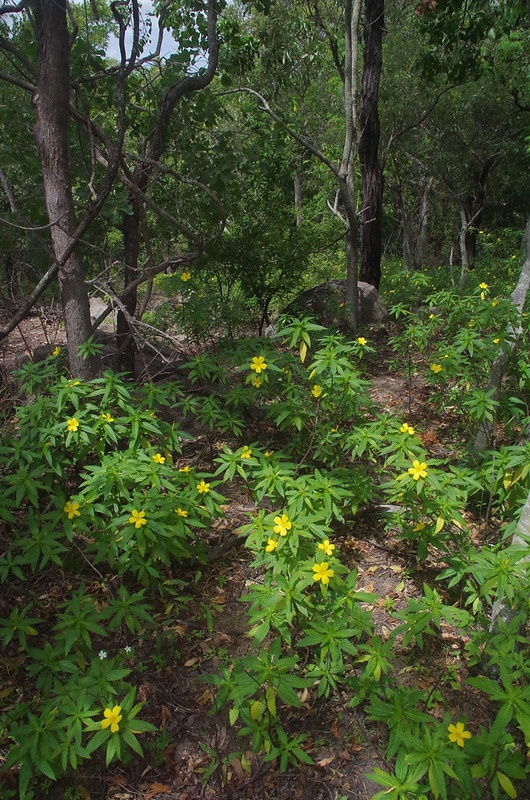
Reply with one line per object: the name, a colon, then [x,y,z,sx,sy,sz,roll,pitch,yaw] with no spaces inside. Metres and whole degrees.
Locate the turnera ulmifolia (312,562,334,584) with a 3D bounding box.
turnera ulmifolia: [0.259,0.764,2.547,0.097,0.108,0.095,4,16,6]

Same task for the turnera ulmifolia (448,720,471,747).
turnera ulmifolia: [0.716,1.238,2.119,0.087,0.024,0.091,-9,52,19]
